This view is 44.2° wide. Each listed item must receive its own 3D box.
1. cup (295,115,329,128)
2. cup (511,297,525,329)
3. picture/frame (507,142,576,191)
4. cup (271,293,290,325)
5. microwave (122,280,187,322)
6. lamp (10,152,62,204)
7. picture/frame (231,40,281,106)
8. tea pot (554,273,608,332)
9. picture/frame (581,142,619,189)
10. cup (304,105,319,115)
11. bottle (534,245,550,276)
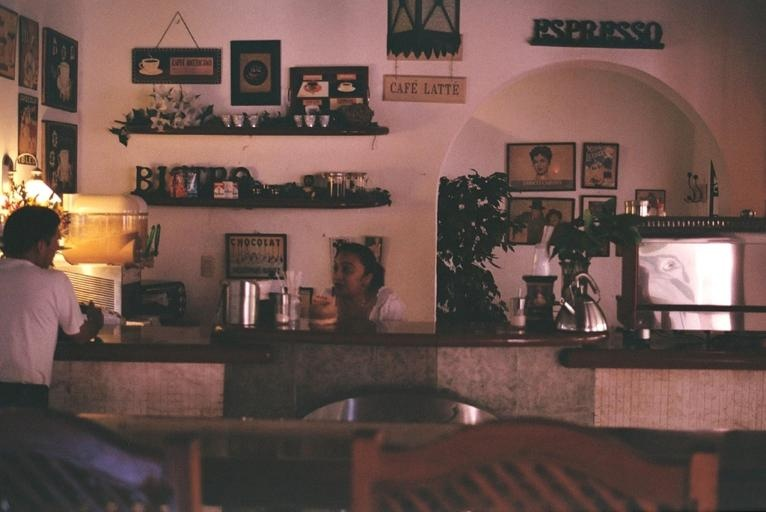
[{"bbox_3d":[-0.617,-1.178,8.178,0.304,0.111,0.062,3,-3,-2],"label":"cup"},{"bbox_3d":[0.955,0.392,6.641,0.106,0.218,0.197,3,-3,9],"label":"cup"},{"bbox_3d":[1.753,-0.983,10.242,0.619,0.459,0.044,0,1,10],"label":"picture/frame"},{"bbox_3d":[-0.713,0.365,6.629,0.117,0.220,0.120,3,-3,0],"label":"cup"},{"bbox_3d":[-1.842,0.373,7.752,0.394,0.215,0.300,4,-2,-41],"label":"microwave"},{"bbox_3d":[-2.734,-0.604,7.417,0.408,0.407,0.391,3,3,11],"label":"lamp"},{"bbox_3d":[-1.135,-1.620,8.323,0.433,0.539,0.012,-1,-11,-5],"label":"picture/frame"},{"bbox_3d":[1.379,0.321,6.570,0.373,0.429,0.472,-1,-1,27],"label":"tea pot"},{"bbox_3d":[2.340,-1.001,10.274,0.478,0.578,0.056,1,-2,-12],"label":"picture/frame"},{"bbox_3d":[-0.614,-1.269,8.160,0.086,0.063,0.075,2,-2,-29],"label":"cup"},{"bbox_3d":[1.131,0.026,6.687,0.106,0.212,0.060,3,-3,4],"label":"bottle"}]
